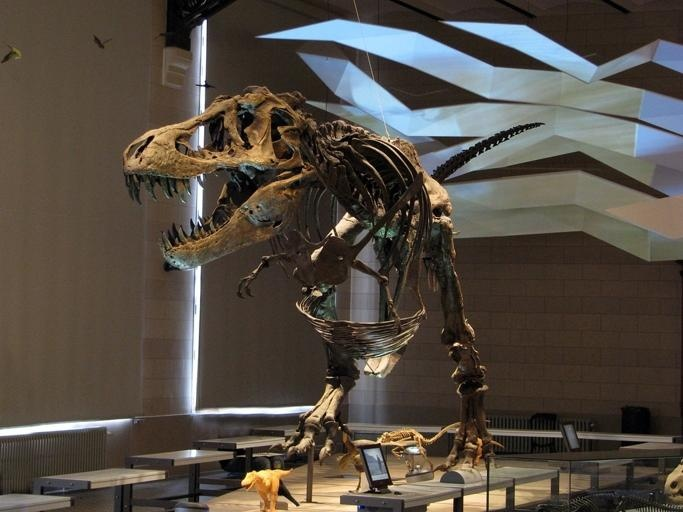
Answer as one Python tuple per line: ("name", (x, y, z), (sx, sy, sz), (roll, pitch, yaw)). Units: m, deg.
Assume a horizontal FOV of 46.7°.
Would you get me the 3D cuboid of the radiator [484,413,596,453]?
("radiator", (3.082, 2.651, 11.813), (2.279, 0.657, 0.054), (10, -19, -43))
